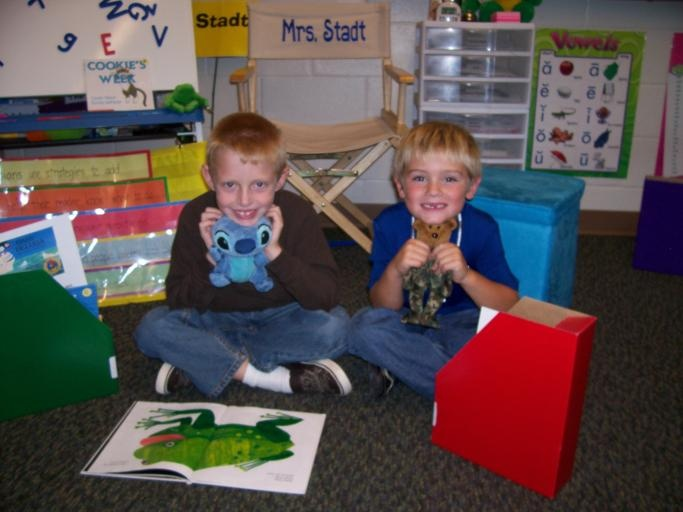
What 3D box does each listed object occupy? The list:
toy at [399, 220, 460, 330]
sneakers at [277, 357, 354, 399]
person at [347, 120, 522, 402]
[{"bbox_3d":[0.241,0.034,1.394,0.130,0.263,0.184,3,22,12],"label":"toy"},{"bbox_3d":[-0.063,0.338,1.423,0.191,0.080,0.068,-2,2,3],"label":"sneakers"},{"bbox_3d":[0.244,0.029,1.373,0.416,0.707,0.396,9,24,27],"label":"person"}]
